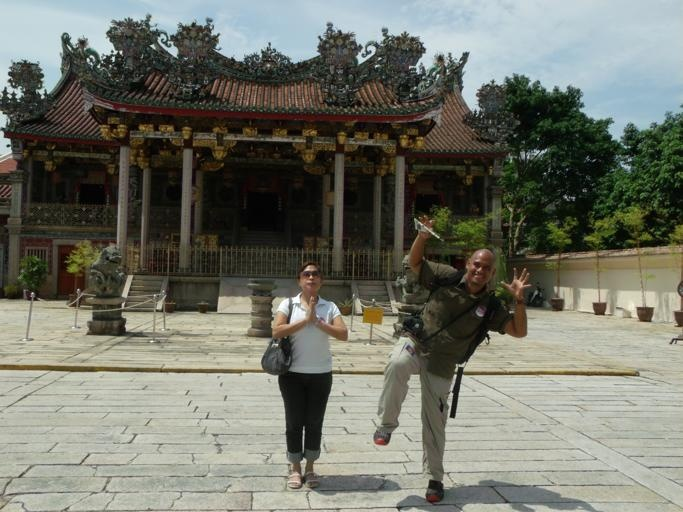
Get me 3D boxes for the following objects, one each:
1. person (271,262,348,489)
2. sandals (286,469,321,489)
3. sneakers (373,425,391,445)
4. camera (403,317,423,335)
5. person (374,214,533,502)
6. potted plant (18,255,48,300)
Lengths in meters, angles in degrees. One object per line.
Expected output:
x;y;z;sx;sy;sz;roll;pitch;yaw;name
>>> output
-0.300;1.070;5.759;0.655;1.797;0.538;2;1;17;person
-0.333;2.024;5.606;0.303;0.125;0.176;1;1;-10;sandals
0.368;1.601;5.529;0.190;0.149;0.155;0;-1;22;sneakers
0.693;0.649;5.762;0.191;0.133;0.141;4;9;10;camera
1.017;0.907;5.702;1.376;2.438;0.613;2;1;-2;person
-11.163;0.757;22.321;0.897;1.108;0.940;1;1;-28;potted plant
